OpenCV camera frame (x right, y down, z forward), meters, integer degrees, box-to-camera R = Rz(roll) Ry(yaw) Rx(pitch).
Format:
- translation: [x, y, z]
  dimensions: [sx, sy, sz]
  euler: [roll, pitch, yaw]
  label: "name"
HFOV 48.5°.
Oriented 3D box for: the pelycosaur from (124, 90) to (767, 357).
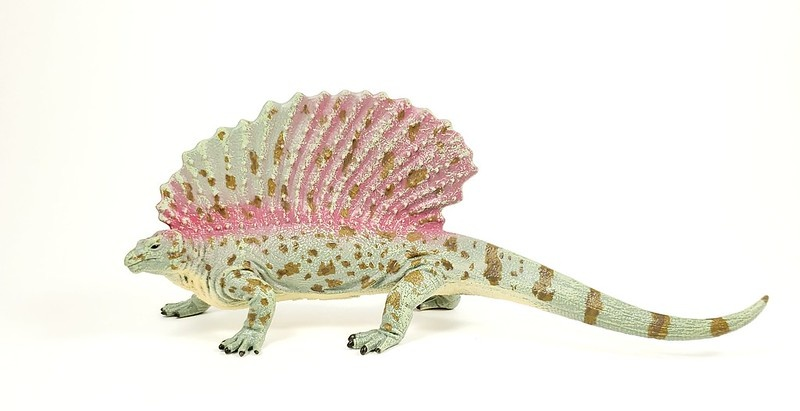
- translation: [0.473, 0.189, 8.399]
  dimensions: [7.505, 2.081, 2.292]
  euler: [4, -1, -28]
  label: "pelycosaur"
